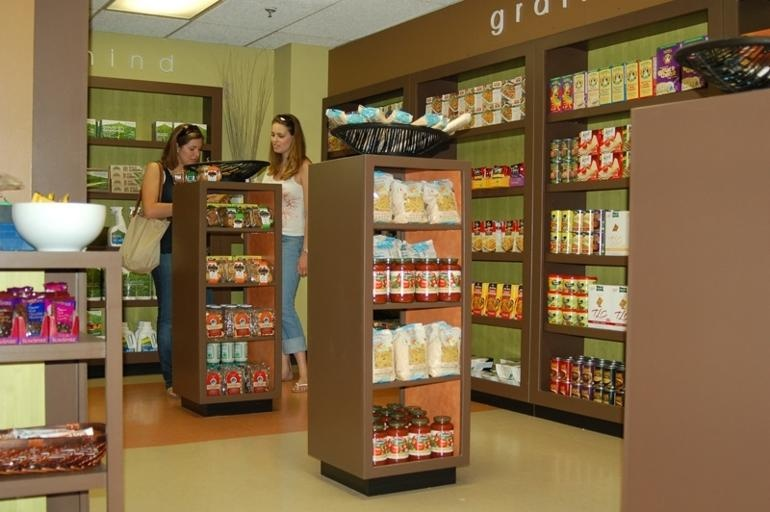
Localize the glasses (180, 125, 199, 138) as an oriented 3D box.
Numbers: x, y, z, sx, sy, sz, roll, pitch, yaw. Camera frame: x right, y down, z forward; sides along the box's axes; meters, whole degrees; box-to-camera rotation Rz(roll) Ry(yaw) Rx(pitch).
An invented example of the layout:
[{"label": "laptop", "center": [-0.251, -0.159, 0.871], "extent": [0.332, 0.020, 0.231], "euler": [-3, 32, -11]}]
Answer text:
[{"label": "glasses", "center": [-1.619, -1.066, 5.038], "extent": [0.134, 0.096, 0.132], "euler": [-1, -10, 17]}]

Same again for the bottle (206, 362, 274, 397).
[{"label": "bottle", "center": [-1.110, 0.901, 4.507], "extent": [0.340, 0.102, 0.234], "euler": [1, -1, -30]}]

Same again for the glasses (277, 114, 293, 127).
[{"label": "glasses", "center": [-0.800, -1.088, 4.828], "extent": [0.103, 0.092, 0.052], "euler": [8, 5, 28]}]

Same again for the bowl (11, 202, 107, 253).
[{"label": "bowl", "center": [-1.074, -0.107, 1.979], "extent": [0.213, 0.099, 0.203], "euler": [0, 0, 0]}]
